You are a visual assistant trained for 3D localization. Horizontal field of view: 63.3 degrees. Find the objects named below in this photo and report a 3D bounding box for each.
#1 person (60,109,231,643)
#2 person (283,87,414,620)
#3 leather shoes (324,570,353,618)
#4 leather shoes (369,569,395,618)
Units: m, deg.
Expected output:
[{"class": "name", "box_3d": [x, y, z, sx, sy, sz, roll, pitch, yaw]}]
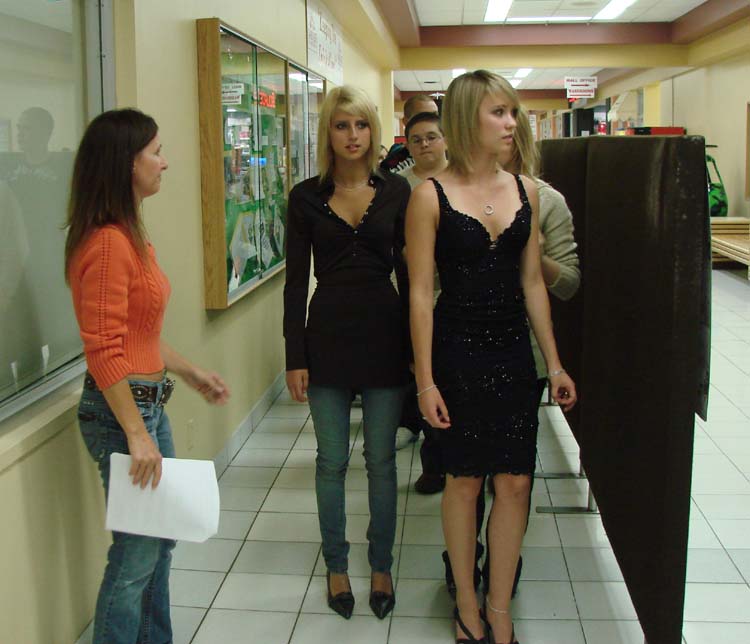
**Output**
[{"class": "person", "box_3d": [-0.677, 0.283, 1.765, 0.330, 1.722, 0.472, -2, 8, -5]}, {"class": "person", "box_3d": [-0.096, 0.134, 2.270, 0.470, 1.927, 0.259, -1, 8, 4]}, {"class": "leather shoes", "box_3d": [-0.128, 1.039, 2.317, 0.057, 0.058, 0.190, 1, 31, -14]}, {"class": "leather shoes", "box_3d": [0.028, 1.034, 2.320, 0.054, 0.050, 0.177, -1, 26, 1]}]
